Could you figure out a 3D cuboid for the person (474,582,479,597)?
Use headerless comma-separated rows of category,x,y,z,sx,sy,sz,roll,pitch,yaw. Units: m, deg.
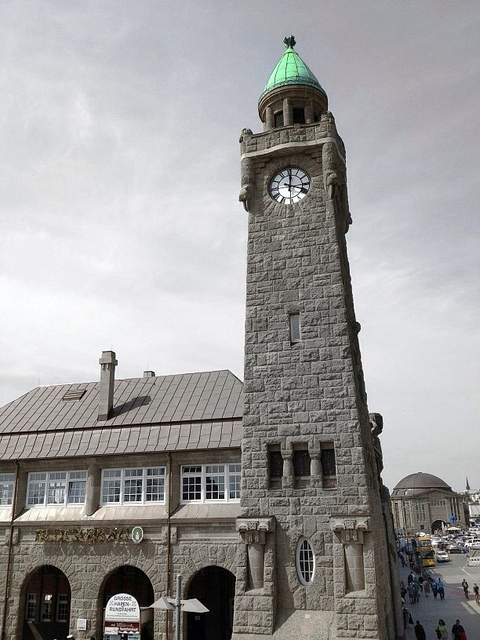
person,15.128,17.517,34.291,0.218,0.748,1.122,-8,-20,20

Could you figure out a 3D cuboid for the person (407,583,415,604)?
person,11.470,18.491,35.795,0.341,1.062,1.651,-6,-19,15

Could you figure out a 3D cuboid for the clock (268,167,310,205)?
clock,2.022,-5.350,21.532,1.473,1.657,0.185,-5,-21,17

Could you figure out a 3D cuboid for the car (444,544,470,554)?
car,30.869,33.102,76.549,3.044,1.009,2.092,-7,-20,14

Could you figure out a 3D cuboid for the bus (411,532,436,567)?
bus,19.557,24.567,56.664,2.213,3.414,6.415,-2,-24,4
